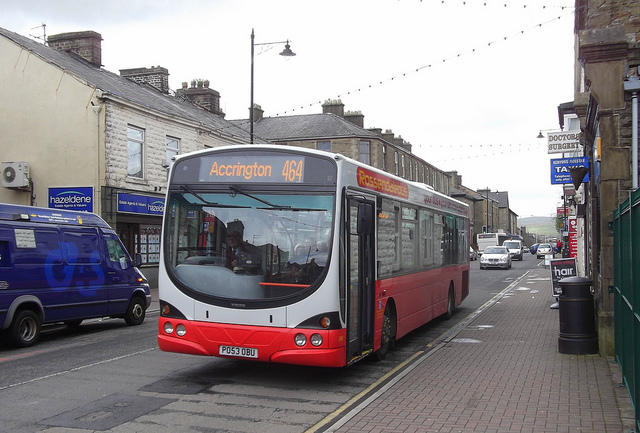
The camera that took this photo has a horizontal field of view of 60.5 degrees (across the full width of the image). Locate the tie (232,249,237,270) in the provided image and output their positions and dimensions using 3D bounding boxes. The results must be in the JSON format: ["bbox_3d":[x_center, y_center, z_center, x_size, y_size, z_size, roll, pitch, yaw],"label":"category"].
[{"bbox_3d":[-1.472,0.742,9.375,0.079,0.235,0.160,-1,4,-25],"label":"tie"}]

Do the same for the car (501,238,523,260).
[{"bbox_3d":[21.406,3.506,61.034,1.987,2.269,5.627,-2,-6,19],"label":"car"}]

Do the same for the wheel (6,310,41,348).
[{"bbox_3d":[-6.802,2.584,12.515,0.282,0.879,0.838,-10,-7,25],"label":"wheel"}]

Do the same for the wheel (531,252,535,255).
[{"bbox_3d":[38.646,6.725,99.820,0.659,0.192,0.745,-1,1,22],"label":"wheel"}]

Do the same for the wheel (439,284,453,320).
[{"bbox_3d":[3.616,2.438,15.824,0.310,1.068,1.009,-8,5,23],"label":"wheel"}]

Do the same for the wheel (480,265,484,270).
[{"bbox_3d":[13.061,4.108,44.386,0.355,0.242,0.366,0,-6,0],"label":"wheel"}]

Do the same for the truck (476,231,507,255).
[{"bbox_3d":[22.089,3.128,71.972,3.653,3.754,11.897,-2,-3,24],"label":"truck"}]

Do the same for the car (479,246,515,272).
[{"bbox_3d":[14.178,3.379,44.475,2.321,1.763,2.340,0,-1,13],"label":"car"}]

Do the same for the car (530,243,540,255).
[{"bbox_3d":[38.277,5.828,97.916,1.720,1.689,3.107,1,5,27],"label":"car"}]

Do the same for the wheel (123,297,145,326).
[{"bbox_3d":[-5.348,2.704,15.736,0.268,0.774,0.746,-11,-12,18],"label":"wheel"}]

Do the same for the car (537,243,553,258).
[{"bbox_3d":[28.592,4.216,69.784,1.780,1.550,4.561,0,5,15],"label":"car"}]
